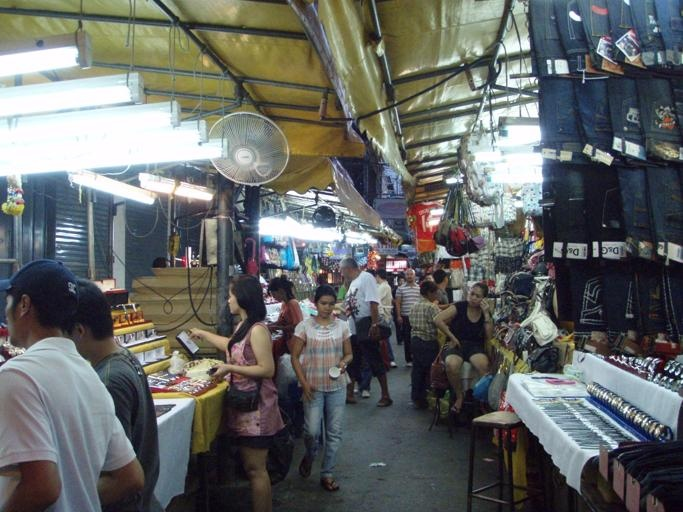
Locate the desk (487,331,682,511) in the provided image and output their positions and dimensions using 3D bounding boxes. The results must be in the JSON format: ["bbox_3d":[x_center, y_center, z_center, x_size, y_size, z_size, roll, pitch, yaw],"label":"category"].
[{"bbox_3d":[1.643,1.047,3.905,0.677,0.528,1.660,-1,0,1],"label":"desk"}]

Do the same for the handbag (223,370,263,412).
[{"bbox_3d":[-0.778,1.050,4.362,0.233,0.358,0.130,10,-26,-2],"label":"handbag"}]

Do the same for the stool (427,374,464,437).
[{"bbox_3d":[1.263,1.752,6.973,0.329,0.426,0.334,-20,17,-38],"label":"stool"}]

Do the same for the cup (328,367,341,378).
[{"bbox_3d":[-0.066,1.080,5.173,0.091,0.071,0.098,2,37,-2],"label":"cup"}]

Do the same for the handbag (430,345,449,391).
[{"bbox_3d":[1.204,1.415,6.957,0.224,0.525,0.289,-1,0,9],"label":"handbag"}]

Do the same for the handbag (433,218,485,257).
[{"bbox_3d":[1.638,-0.232,8.281,0.567,0.258,0.582,-32,48,-28],"label":"handbag"}]

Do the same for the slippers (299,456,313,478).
[{"bbox_3d":[-0.331,1.991,5.227,0.105,0.298,0.073,6,3,21],"label":"slippers"}]

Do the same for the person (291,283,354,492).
[{"bbox_3d":[-0.188,1.224,5.297,0.545,1.831,0.440,-1,0,0],"label":"person"}]

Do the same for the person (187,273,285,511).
[{"bbox_3d":[-0.769,1.088,4.495,0.569,1.702,0.588,-1,0,10],"label":"person"}]

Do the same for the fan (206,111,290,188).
[{"bbox_3d":[-0.835,-0.873,5.110,0.820,0.933,0.216,4,-19,12],"label":"fan"}]

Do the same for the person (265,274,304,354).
[{"bbox_3d":[-0.711,0.708,6.744,0.326,0.312,0.837,-2,41,0],"label":"person"}]
